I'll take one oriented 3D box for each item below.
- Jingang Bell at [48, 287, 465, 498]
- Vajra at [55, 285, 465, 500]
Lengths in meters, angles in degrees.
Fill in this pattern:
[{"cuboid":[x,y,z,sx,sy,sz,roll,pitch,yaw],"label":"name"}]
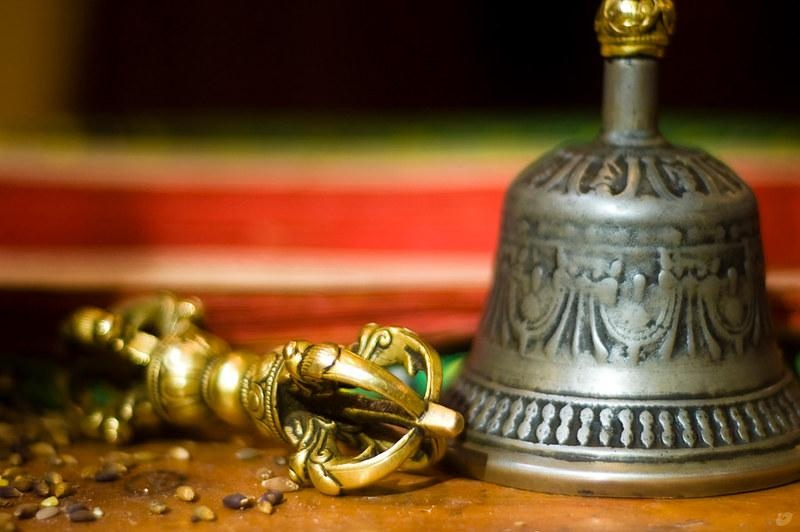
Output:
[{"cuboid":[-0.149,0.145,1.208,0.423,0.191,0.202,12,35,27],"label":"Jingang Bell"},{"cuboid":[-0.145,0.142,1.204,0.422,0.184,0.201,10,31,26],"label":"Vajra"}]
